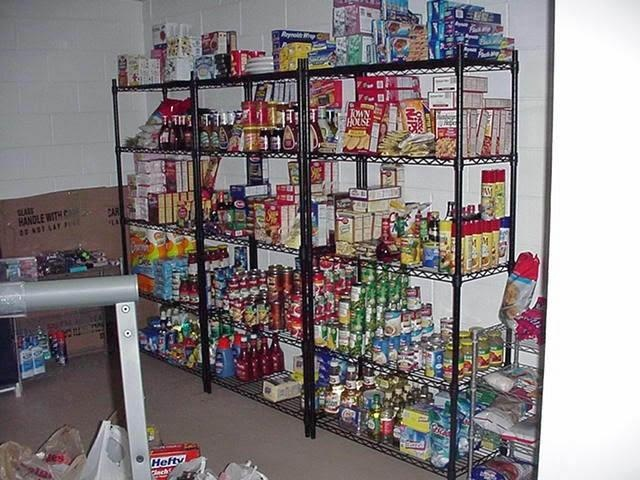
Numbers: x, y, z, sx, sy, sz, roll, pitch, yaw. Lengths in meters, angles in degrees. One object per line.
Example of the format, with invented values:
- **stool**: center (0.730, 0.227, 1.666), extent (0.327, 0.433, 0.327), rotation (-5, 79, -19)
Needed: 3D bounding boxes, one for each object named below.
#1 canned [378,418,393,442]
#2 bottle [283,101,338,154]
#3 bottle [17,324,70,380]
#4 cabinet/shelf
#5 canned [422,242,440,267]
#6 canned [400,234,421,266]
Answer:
- **canned**: center (0.389, 1.103, 3.165), extent (0.081, 0.133, 0.058), rotation (-1, 12, 5)
- **bottle**: center (-0.078, -0.663, 3.238), extent (0.387, 0.281, 0.231), rotation (1, 12, 12)
- **bottle**: center (-2.238, 0.899, 4.328), extent (0.146, 0.372, 0.410), rotation (10, 12, 38)
- **cabinet/shelf**: center (0.097, 0.128, 3.181), extent (2.670, 1.837, 0.493), rotation (14, 31, 37)
- **canned**: center (0.573, 0.073, 2.802), extent (0.112, 0.116, 0.109), rotation (-6, 8, -35)
- **canned**: center (0.477, 0.052, 2.950), extent (0.139, 0.143, 0.136), rotation (-13, 20, -40)
